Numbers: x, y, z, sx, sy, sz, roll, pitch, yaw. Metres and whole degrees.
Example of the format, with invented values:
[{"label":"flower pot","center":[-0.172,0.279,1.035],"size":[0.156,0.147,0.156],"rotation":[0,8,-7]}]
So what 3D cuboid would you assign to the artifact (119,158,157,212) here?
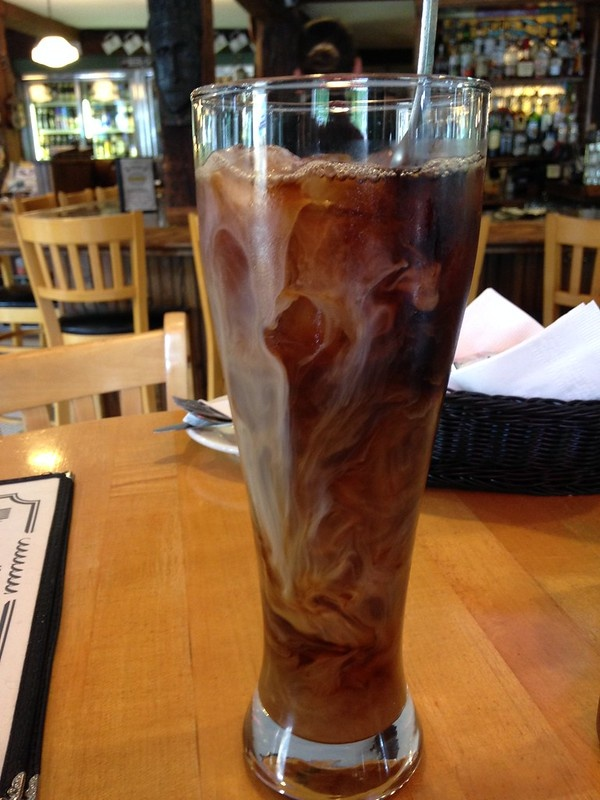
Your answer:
[{"label":"artifact","center":[-0.751,-0.994,3.142],"size":[0.167,0.242,0.114],"rotation":[-4,22,-12]}]

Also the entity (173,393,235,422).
[{"label":"entity","center":[-0.109,0.008,0.819],"size":[0.075,0.027,0.038],"rotation":[28,-4,-12]}]

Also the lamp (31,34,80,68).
[{"label":"lamp","center":[-2.828,-4.058,7.838],"size":[0.456,0.302,0.446],"rotation":[-13,24,-31]}]

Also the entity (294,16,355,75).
[{"label":"entity","center":[0.183,-2.480,4.776],"size":[0.429,0.367,0.754],"rotation":[2,21,4]}]
